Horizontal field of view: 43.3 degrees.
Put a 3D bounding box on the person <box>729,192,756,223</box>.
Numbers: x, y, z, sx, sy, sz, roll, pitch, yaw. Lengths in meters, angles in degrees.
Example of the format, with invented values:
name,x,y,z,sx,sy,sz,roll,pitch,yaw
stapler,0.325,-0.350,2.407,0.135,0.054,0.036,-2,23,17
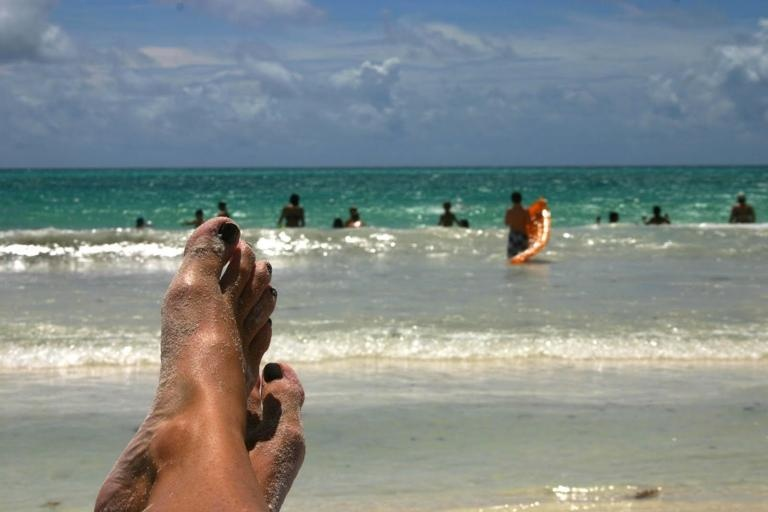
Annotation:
name,x,y,z,sx,sy,sz,roll,pitch,yaw
person,6.296,-0.828,16.987,0.374,0.575,1.849,-1,0,19

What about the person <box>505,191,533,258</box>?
name,x,y,z,sx,sy,sz,roll,pitch,yaw
person,1.957,-0.455,14.063,0.352,0.964,0.825,-1,1,8
